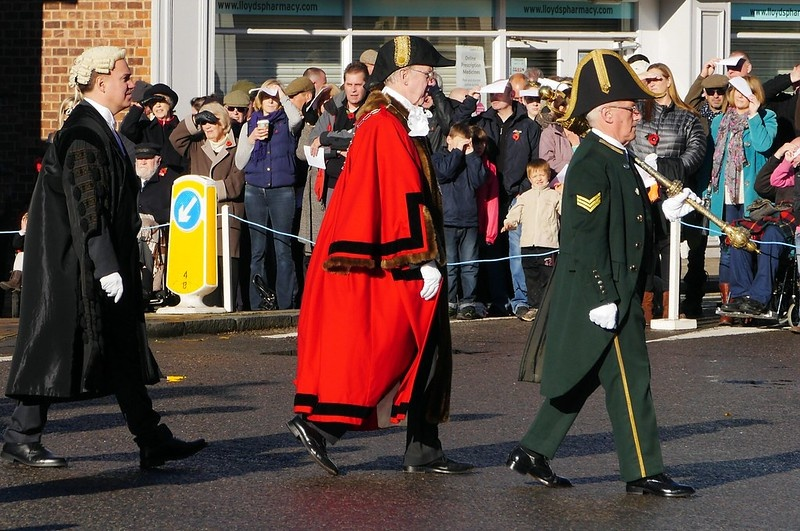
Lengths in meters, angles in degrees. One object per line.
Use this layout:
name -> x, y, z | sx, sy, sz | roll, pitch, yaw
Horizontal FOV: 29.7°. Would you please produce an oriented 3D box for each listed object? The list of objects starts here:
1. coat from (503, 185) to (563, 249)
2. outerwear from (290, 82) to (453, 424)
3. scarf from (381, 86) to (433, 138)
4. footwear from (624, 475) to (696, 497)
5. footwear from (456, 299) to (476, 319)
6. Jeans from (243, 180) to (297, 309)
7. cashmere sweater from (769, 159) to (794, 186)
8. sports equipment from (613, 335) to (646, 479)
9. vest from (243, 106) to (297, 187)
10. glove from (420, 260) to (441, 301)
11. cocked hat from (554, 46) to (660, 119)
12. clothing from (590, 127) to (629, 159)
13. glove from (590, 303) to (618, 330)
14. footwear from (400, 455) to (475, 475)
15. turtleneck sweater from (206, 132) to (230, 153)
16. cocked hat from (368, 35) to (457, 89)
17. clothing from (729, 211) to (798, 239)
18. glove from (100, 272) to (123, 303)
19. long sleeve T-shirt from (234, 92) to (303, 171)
coat -> 1.573, -0.522, 16.297 | 0.899, 0.611, 0.337 | 2, 7, 34
outerwear -> -0.181, 0.003, 10.382 | 1.070, 2.206, 0.657 | 0, 11, 0
scarf -> 0.031, -1.060, 10.501 | 0.380, 0.130, 0.282 | 29, 15, 15
footwear -> 1.752, 1.465, 10.110 | 0.465, 0.154, 0.169 | -1, -1, 9
footwear -> 0.722, 0.487, 16.400 | 0.260, 0.231, 0.628 | 1, 3, 7
Jeans -> -1.435, -0.222, 16.491 | 0.566, 1.540, 0.364 | -4, -15, 8
cashmere sweater -> 3.847, -0.909, 15.097 | 0.278, 0.229, 0.119 | 7, 5, 40
sports equipment -> 1.515, 0.768, 10.025 | 0.079, 1.014, 0.045 | -16, 40, 5
vest -> -1.547, -1.295, 16.488 | 0.791, 0.810, 0.520 | -2, 7, -34
glove -> 0.210, 0.109, 10.336 | 0.198, 0.218, 0.109 | -3, 4, -16
cocked hat -> 1.369, -1.220, 10.112 | 0.541, 0.199, 0.530 | -11, 6, 2
clothing -> 1.429, -0.825, 10.205 | 0.233, 0.050, 0.186 | 27, 0, -14
glove -> 1.360, 0.338, 9.979 | 0.201, 0.159, 0.078 | 12, 9, 17
footwear -> 0.273, 1.403, 10.584 | 0.493, 0.157, 0.152 | -1, -3, -1
turtleneck sweater -> -2.002, -1.328, 16.437 | 0.222, 0.161, 0.256 | -1, 13, 2
cocked hat -> 0.096, -1.434, 10.612 | 0.565, 0.236, 0.343 | -13, 16, 3
clothing -> 3.728, -0.419, 15.226 | 0.488, 0.180, 0.367 | 2, 4, 34
glove -> -1.982, 0.143, 10.315 | 0.222, 0.174, 0.084 | 8, 23, 13
long sleeve T-shirt -> -1.473, -1.476, 16.355 | 0.741, 0.383, 0.930 | -25, 15, -18
